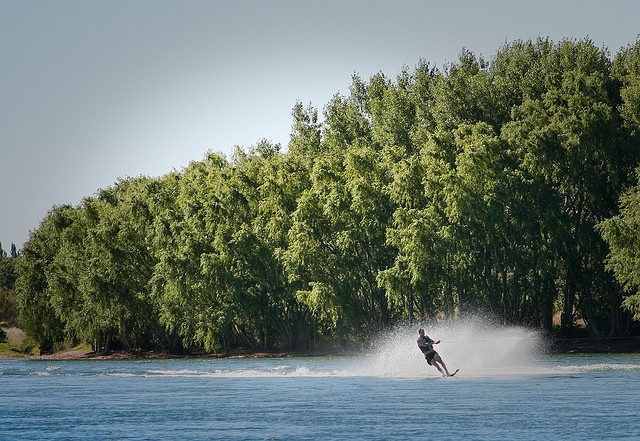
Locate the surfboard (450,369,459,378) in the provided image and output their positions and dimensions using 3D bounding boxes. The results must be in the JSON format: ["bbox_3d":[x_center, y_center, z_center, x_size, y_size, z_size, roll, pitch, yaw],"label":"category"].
[{"bbox_3d":[9.196,10.631,69.000,0.188,0.325,0.789,12,-40,-27],"label":"surfboard"}]
